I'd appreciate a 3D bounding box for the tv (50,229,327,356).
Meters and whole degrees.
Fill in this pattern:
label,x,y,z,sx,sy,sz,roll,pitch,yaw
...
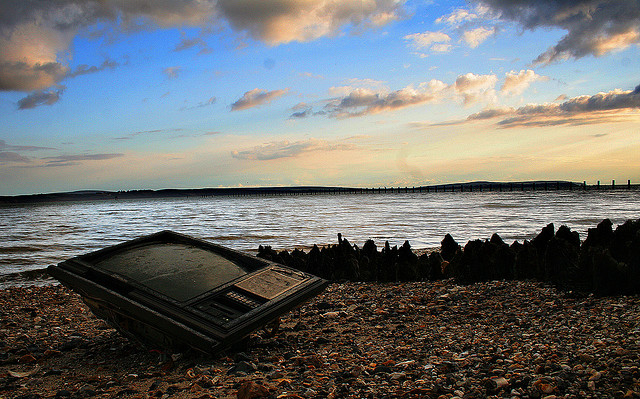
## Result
label,x,y,z,sx,sy,sz,roll,pitch,yaw
tv,-2.067,1.475,6.100,3.353,0.846,2.450,12,15,23
